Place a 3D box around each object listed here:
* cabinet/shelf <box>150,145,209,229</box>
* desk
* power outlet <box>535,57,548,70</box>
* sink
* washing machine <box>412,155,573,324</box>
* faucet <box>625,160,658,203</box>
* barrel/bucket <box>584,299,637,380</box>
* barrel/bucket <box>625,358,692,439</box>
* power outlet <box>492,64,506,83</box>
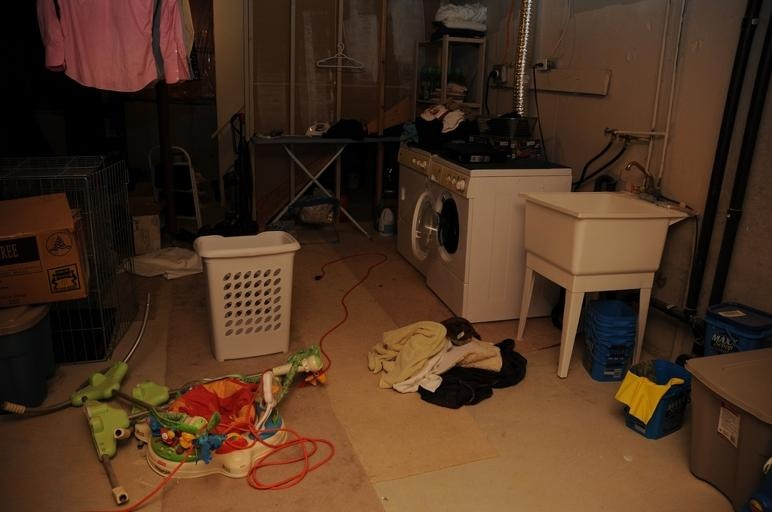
[{"bbox_3d":[-2.465,-0.800,6.712,0.532,1.000,0.573,-4,11,-15],"label":"cabinet/shelf"},{"bbox_3d":[-0.827,-0.836,6.471,1.341,1.004,0.738,-1,8,-10],"label":"desk"},{"bbox_3d":[1.367,-1.685,5.042,0.052,0.112,0.183,-6,25,-11],"label":"power outlet"},{"bbox_3d":[1.395,-0.266,3.915,0.626,0.368,0.790,-1,14,-12],"label":"sink"},{"bbox_3d":[0.747,-0.363,5.235,0.948,1.183,1.683,-5,21,-14],"label":"washing machine"},{"bbox_3d":[1.836,-0.535,4.114,0.258,0.277,0.179,10,12,27],"label":"faucet"},{"bbox_3d":[1.540,0.589,3.971,0.299,0.493,0.306,-1,24,0],"label":"barrel/bucket"},{"bbox_3d":[1.658,0.899,3.545,0.377,0.347,0.419,-6,16,-18],"label":"barrel/bucket"},{"bbox_3d":[1.126,-1.811,5.679,0.156,0.207,0.203,-1,19,-2],"label":"power outlet"}]
